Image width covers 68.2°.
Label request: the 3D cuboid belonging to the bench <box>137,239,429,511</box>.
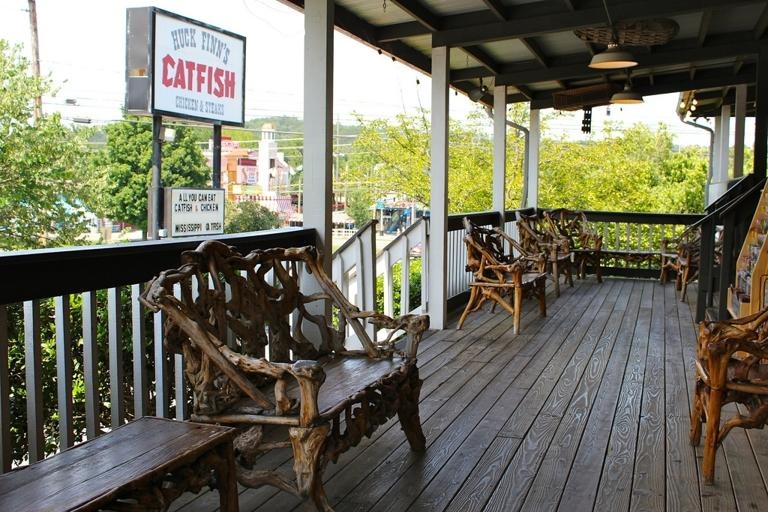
[{"bbox_3d":[-0.476,0.536,3.002,0.893,1.222,1.349,5,9,34],"label":"bench"}]
